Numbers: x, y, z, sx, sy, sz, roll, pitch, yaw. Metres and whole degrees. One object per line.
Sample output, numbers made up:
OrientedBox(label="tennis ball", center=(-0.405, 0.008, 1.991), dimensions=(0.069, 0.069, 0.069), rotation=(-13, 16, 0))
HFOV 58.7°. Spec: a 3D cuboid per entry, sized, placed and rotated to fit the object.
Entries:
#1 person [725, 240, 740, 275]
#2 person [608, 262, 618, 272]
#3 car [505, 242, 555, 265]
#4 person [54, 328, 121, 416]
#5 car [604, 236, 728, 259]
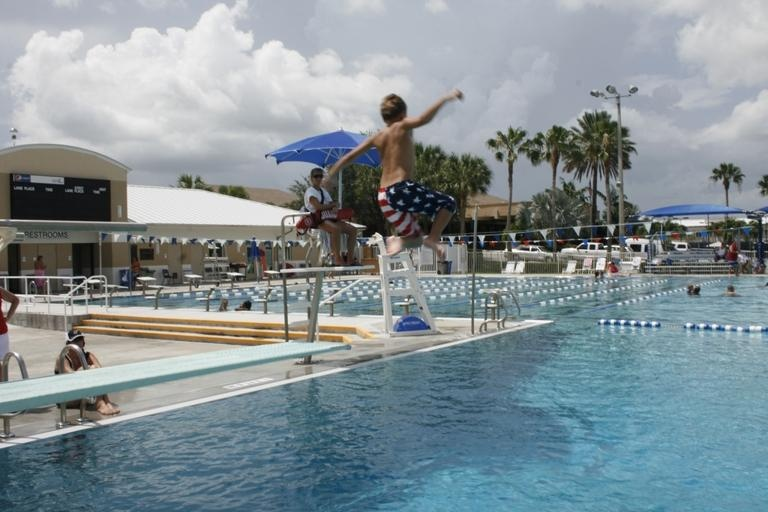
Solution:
OrientedBox(label="person", center=(16.441, 0.152, 32.129), dimensions=(0.513, 1.408, 1.779), rotation=(4, 10, 27))
OrientedBox(label="person", center=(11.782, 0.632, 35.168), dimensions=(0.464, 0.607, 0.843), rotation=(2, 9, 18))
OrientedBox(label="car", center=(9.864, -0.031, 46.145), dimensions=(3.218, 1.077, 1.581), rotation=(0, 4, 23))
OrientedBox(label="person", center=(-3.834, 1.500, 8.915), dimensions=(1.099, 1.077, 0.490), rotation=(-4, -2, 34))
OrientedBox(label="car", center=(16.919, -0.455, 41.379), dimensions=(5.075, 1.195, 1.470), rotation=(-2, 5, -9))
